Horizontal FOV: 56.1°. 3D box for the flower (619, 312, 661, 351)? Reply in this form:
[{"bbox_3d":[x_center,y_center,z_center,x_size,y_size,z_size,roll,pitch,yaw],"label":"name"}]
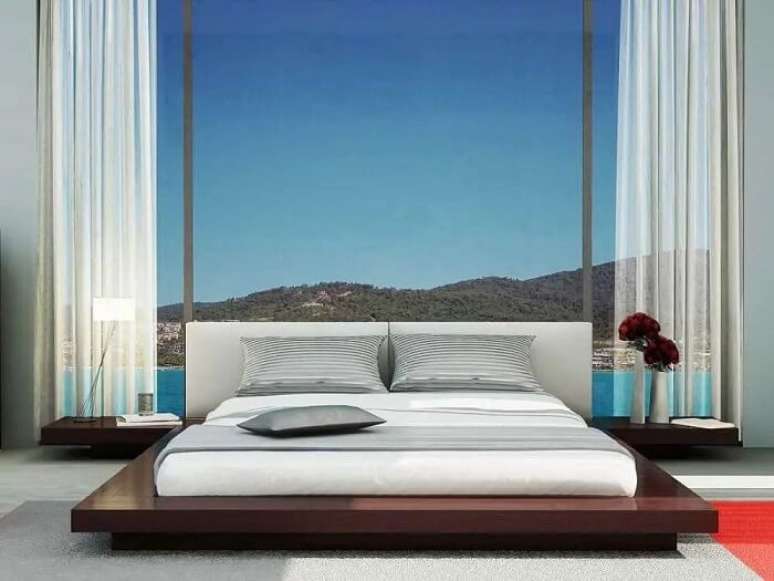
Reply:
[{"bbox_3d":[1.998,0.303,5.733,0.301,0.309,0.290,-2,4,-43],"label":"flower"}]

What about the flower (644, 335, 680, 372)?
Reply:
[{"bbox_3d":[2.155,0.497,5.672,0.236,0.302,0.294,0,-3,-4],"label":"flower"}]
